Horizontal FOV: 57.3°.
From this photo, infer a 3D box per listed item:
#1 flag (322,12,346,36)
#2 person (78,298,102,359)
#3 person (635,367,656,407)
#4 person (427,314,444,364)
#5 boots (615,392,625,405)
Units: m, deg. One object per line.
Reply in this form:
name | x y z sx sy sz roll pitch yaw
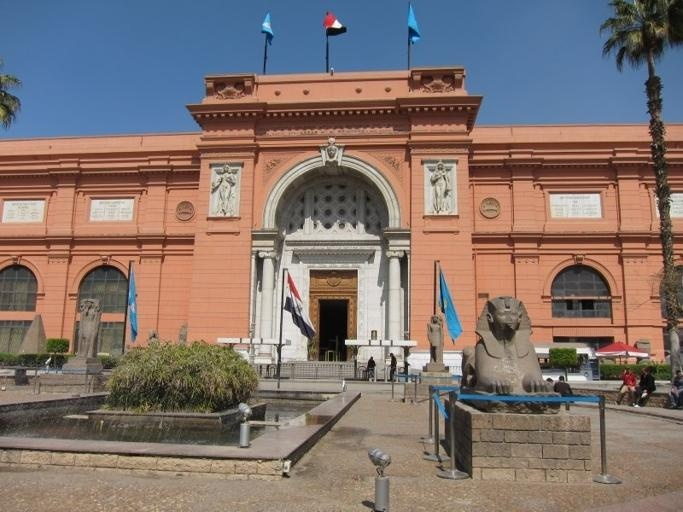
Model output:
flag | -0.429 -13.255 35.793 0.925 1.295 0.596 1 -10 2
person | -9.725 2.817 24.205 0.686 2.345 1.133 5 -11 -24
person | 10.432 4.544 21.570 0.656 1.215 0.613 -8 -13 40
person | 3.861 3.371 25.647 0.531 1.878 0.678 -2 -10 17
boots | 9.965 5.059 22.298 0.279 0.419 0.272 -4 -11 24
